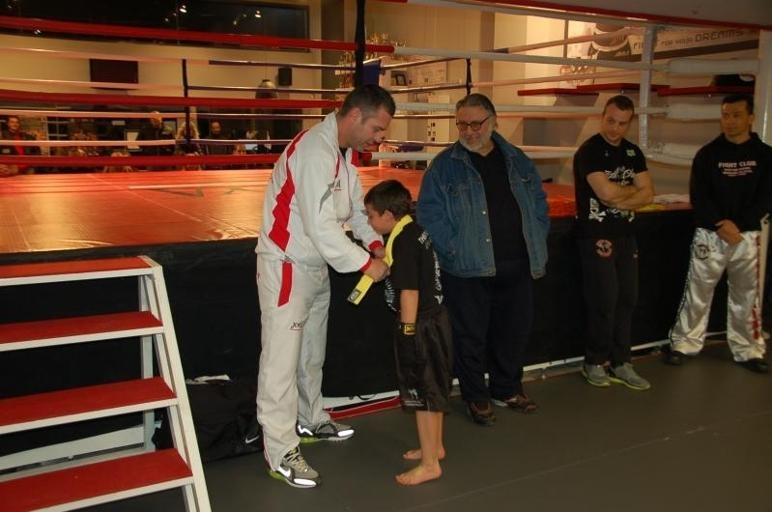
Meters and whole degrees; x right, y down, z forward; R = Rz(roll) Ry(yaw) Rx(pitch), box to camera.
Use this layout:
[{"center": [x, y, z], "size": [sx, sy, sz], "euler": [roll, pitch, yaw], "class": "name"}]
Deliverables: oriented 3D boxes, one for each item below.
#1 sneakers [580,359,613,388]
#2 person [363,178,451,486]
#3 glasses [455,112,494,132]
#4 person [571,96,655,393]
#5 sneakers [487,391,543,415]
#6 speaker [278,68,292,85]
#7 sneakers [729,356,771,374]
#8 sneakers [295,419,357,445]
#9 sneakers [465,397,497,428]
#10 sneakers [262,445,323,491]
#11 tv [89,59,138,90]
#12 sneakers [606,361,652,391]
[{"center": [1.611, 0.906, 4.072], "size": [0.112, 0.180, 0.269], "euler": [0, 1, -17], "class": "sneakers"}, {"center": [0.152, 0.427, 3.026], "size": [0.435, 1.686, 0.468], "euler": [-4, 14, -2], "class": "person"}, {"center": [0.569, -0.839, 3.388], "size": [0.239, 0.099, 0.126], "euler": [-1, 13, 9], "class": "glasses"}, {"center": [1.695, -0.093, 3.986], "size": [0.579, 2.134, 0.475], "euler": [0, 14, 13], "class": "person"}, {"center": [0.914, 1.016, 3.721], "size": [0.301, 0.126, 0.118], "euler": [1, 1, 20], "class": "sneakers"}, {"center": [-1.823, -3.229, 9.581], "size": [0.171, 0.315, 0.344], "euler": [13, 14, 40], "class": "speaker"}, {"center": [2.964, 0.866, 4.349], "size": [0.096, 0.100, 0.249], "euler": [-1, 10, -32], "class": "sneakers"}, {"center": [-0.390, 1.122, 3.468], "size": [0.382, 0.158, 0.129], "euler": [-1, 3, -9], "class": "sneakers"}, {"center": [0.643, 1.051, 3.575], "size": [0.103, 0.112, 0.266], "euler": [0, -6, -20], "class": "sneakers"}, {"center": [-0.513, 1.201, 3.088], "size": [0.372, 0.165, 0.143], "euler": [5, 8, 29], "class": "sneakers"}, {"center": [-4.410, -2.968, 8.705], "size": [0.766, 0.503, 0.452], "euler": [-9, 14, -24], "class": "tv"}, {"center": [1.828, 0.915, 4.113], "size": [0.131, 0.152, 0.368], "euler": [-10, 7, -29], "class": "sneakers"}]
